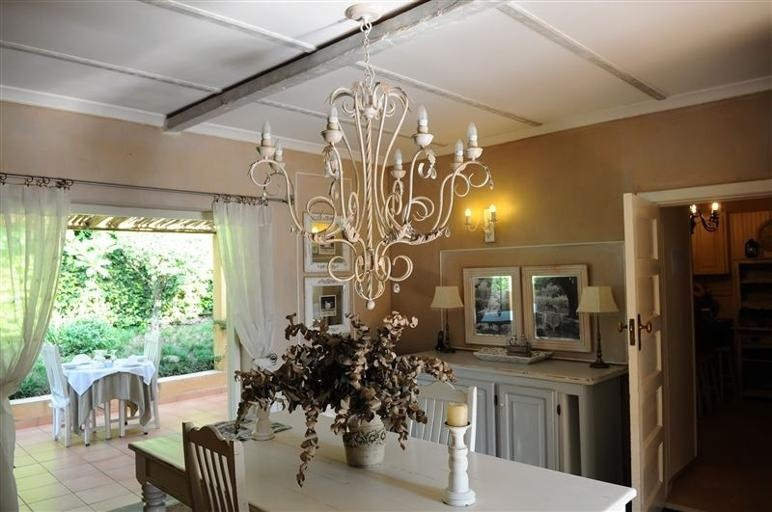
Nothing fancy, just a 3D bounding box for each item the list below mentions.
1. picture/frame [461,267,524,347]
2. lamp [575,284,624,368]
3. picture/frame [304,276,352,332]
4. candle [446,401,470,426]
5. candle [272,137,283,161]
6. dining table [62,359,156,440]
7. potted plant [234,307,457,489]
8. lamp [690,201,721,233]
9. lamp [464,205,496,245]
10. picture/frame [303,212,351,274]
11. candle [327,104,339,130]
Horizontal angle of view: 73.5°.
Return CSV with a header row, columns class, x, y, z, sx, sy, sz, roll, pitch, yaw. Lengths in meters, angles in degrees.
class,x,y,z,sx,sy,sz,roll,pitch,yaw
picture/frame,1.193,0.561,5.649,0.843,1.020,0.073,-7,-11,36
lamp,1.992,0.653,4.854,0.359,0.745,0.423,0,7,23
picture/frame,-0.655,0.500,5.540,0.701,0.714,0.059,3,0,-37
candle,0.386,0.820,2.764,0.154,0.126,0.150,1,-9,-4
candle,-0.700,-0.680,3.317,0.046,0.153,0.183,-4,6,-15
dining table,-3.306,1.655,6.312,0.988,0.702,0.947,1,-5,10
potted plant,-0.196,0.735,3.121,1.095,0.748,1.122,5,-7,-38
lamp,4.824,-0.544,7.788,0.370,0.482,1.252,2,7,33
lamp,1.056,-0.360,5.722,0.214,0.351,0.407,13,-16,-42
picture/frame,-0.610,-0.129,4.967,0.687,0.665,0.050,9,-16,-44
candle,-0.308,-0.805,2.978,0.056,0.158,0.156,-3,6,-5
